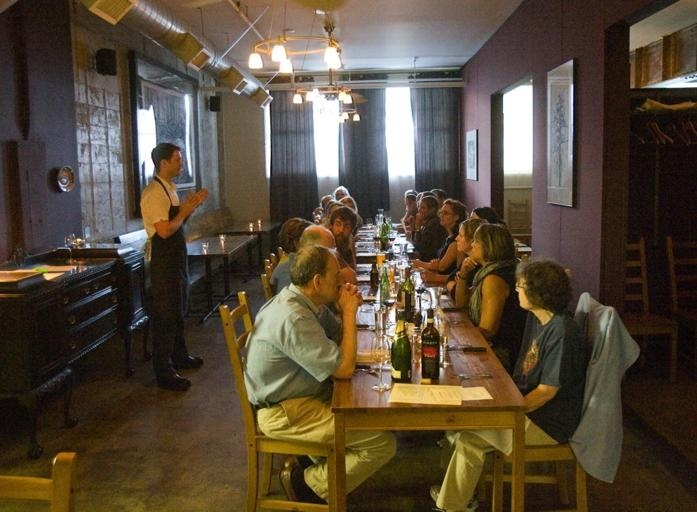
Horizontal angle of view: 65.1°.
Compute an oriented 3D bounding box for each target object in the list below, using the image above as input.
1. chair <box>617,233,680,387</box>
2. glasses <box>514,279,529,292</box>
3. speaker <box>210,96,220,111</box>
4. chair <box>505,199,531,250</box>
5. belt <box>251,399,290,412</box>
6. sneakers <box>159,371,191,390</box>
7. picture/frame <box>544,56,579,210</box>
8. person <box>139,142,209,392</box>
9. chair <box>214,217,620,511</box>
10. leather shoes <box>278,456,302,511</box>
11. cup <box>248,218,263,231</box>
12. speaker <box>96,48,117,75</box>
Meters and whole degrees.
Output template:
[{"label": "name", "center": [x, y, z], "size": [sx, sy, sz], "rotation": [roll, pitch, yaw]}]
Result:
[{"label": "chair", "center": [2.945, 0.437, 5.318], "size": [0.515, 1.241, 1.553], "rotation": [5, 13, 28]}, {"label": "glasses", "center": [0.964, 0.165, 3.038], "size": [0.055, 0.020, 0.056], "rotation": [11, 7, -1]}, {"label": "speaker", "center": [-2.531, -2.890, 10.385], "size": [0.223, 0.354, 0.237], "rotation": [0, 2, -10]}, {"label": "chair", "center": [3.278, -0.781, 10.595], "size": [0.519, 0.561, 0.768], "rotation": [8, 32, 28]}, {"label": "belt", "center": [-0.449, 0.840, 3.073], "size": [0.144, 0.053, 0.111], "rotation": [0, 9, 3]}, {"label": "sneakers", "center": [-1.596, 1.145, 5.086], "size": [0.270, 0.203, 0.140], "rotation": [1, 6, -6]}, {"label": "picture/frame", "center": [2.329, -1.296, 6.076], "size": [0.047, 1.688, 1.595], "rotation": [3, 11, 31]}, {"label": "person", "center": [-1.664, 0.069, 5.168], "size": [0.497, 2.231, 0.861], "rotation": [-5, 12, -21]}, {"label": "chair", "center": [0.435, 0.896, 3.073], "size": [1.962, 1.239, 1.083], "rotation": [-5, 12, -18]}, {"label": "leather shoes", "center": [-0.340, 1.340, 3.250], "size": [0.118, 0.309, 0.099], "rotation": [-6, -8, 19]}, {"label": "cup", "center": [-1.845, -0.631, 10.936], "size": [0.207, 0.123, 0.345], "rotation": [-1, 7, 0]}, {"label": "speaker", "center": [-2.849, -2.283, 6.436], "size": [0.202, 0.299, 0.263], "rotation": [-4, 12, -14]}]
